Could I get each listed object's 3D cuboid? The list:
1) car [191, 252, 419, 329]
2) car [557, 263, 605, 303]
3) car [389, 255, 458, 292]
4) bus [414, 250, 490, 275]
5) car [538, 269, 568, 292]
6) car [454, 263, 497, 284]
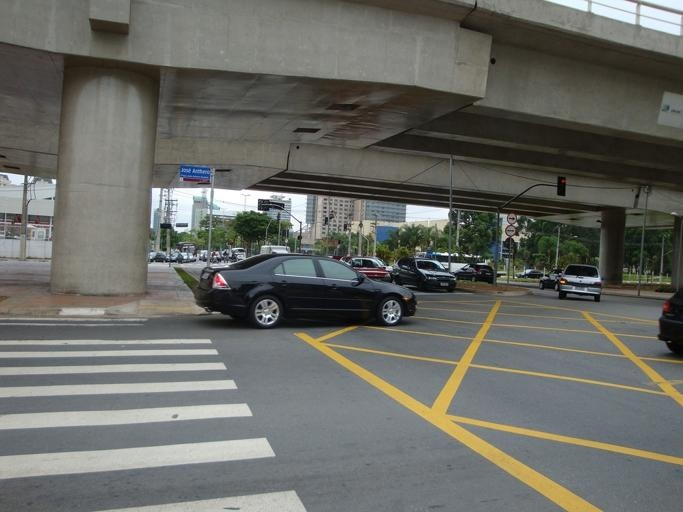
[{"bbox_3d":[-0.965,0.784,14.149,4.719,1.534,2.006,1,-3,-21],"label":"car"},{"bbox_3d":[11.625,1.229,27.205,1.818,1.727,1.545,3,3,18],"label":"car"},{"bbox_3d":[4.378,0.899,29.531,1.524,1.255,3.257,4,-4,-22],"label":"car"},{"bbox_3d":[12.087,0.377,59.055,9.509,2.833,2.723,1,7,-17],"label":"bus"},{"bbox_3d":[16.322,1.749,43.091,1.929,1.322,2.966,1,4,-20],"label":"car"},{"bbox_3d":[11.735,1.816,48.618,2.265,1.692,4.938,1,4,-17],"label":"car"}]
